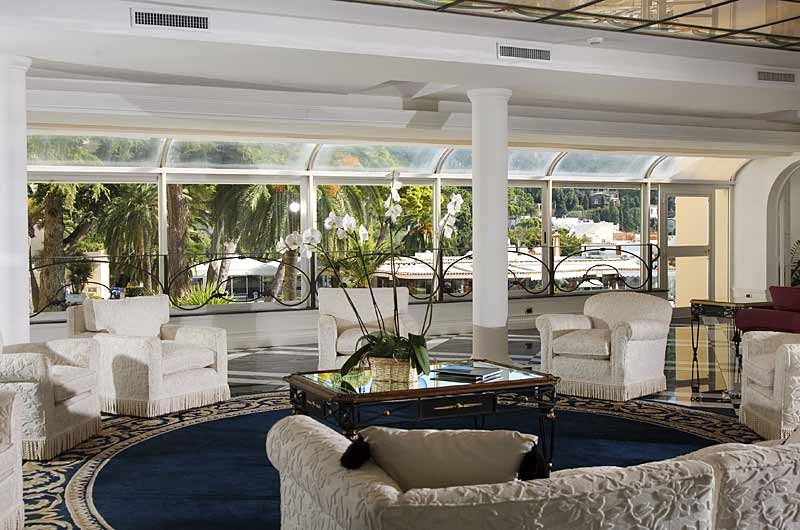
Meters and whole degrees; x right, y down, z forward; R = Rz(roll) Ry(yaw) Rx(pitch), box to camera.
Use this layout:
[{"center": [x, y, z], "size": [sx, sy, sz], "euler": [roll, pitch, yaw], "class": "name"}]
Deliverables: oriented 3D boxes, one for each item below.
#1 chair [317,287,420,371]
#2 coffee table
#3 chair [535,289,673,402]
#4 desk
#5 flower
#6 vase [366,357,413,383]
[{"center": [-0.416, 0.784, 7.079], "size": [1.110, 0.961, 0.833], "euler": [-2, 9, -8], "class": "chair"}, {"center": [0.453, 1.327, 4.859], "size": [1.625, 0.673, 1.087], "euler": [-6, -11, 4], "class": "coffee table"}, {"center": [2.376, 0.896, 7.033], "size": [1.085, 1.016, 1.275], "euler": [-4, 2, -39], "class": "chair"}, {"center": [3.891, 0.929, 7.386], "size": [0.815, 0.867, 0.798], "euler": [7, -6, -32], "class": "desk"}, {"center": [-0.388, 0.368, 7.130], "size": [1.919, 2.344, 1.131], "euler": [5, -5, -6], "class": "flower"}, {"center": [-0.075, 0.800, 4.670], "size": [0.247, 0.088, 0.218], "euler": [0, -1, 14], "class": "vase"}]
